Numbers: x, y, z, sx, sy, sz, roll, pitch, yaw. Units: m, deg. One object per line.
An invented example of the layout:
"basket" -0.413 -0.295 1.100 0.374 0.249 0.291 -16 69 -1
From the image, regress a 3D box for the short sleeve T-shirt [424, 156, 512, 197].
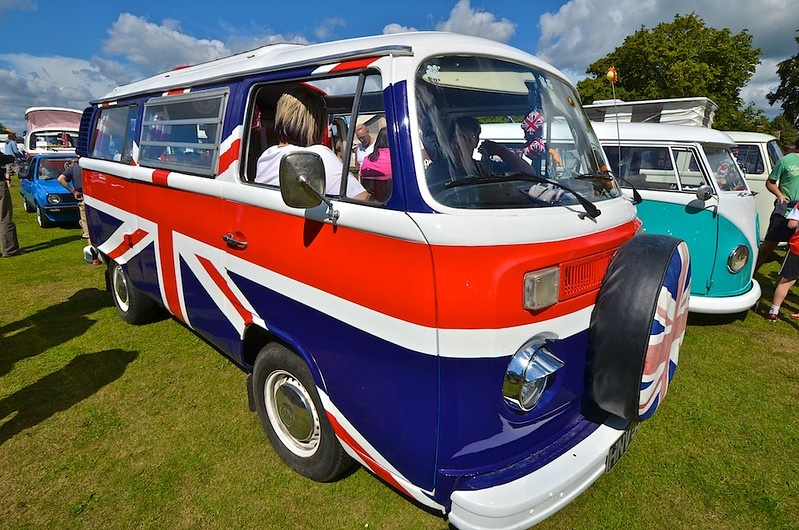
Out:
"short sleeve T-shirt" 0.536 -0.695 3.442 0.289 0.268 0.808 7 17 38

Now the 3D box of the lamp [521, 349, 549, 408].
"lamp" 1.021 0.839 3.292 0.317 0.471 0.130 -13 15 -40

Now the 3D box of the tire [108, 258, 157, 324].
"tire" -3.752 0.251 6.372 0.371 0.998 0.967 -10 -11 -44

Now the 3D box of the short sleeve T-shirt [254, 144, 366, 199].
"short sleeve T-shirt" -0.719 -0.709 3.782 0.779 0.295 0.535 5 9 -41

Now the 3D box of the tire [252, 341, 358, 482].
"tire" -0.771 1.245 3.876 1.011 1.054 0.352 36 31 30

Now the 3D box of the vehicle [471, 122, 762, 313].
"vehicle" 3.330 -1.192 8.383 5.415 2.610 2.328 8 16 38
